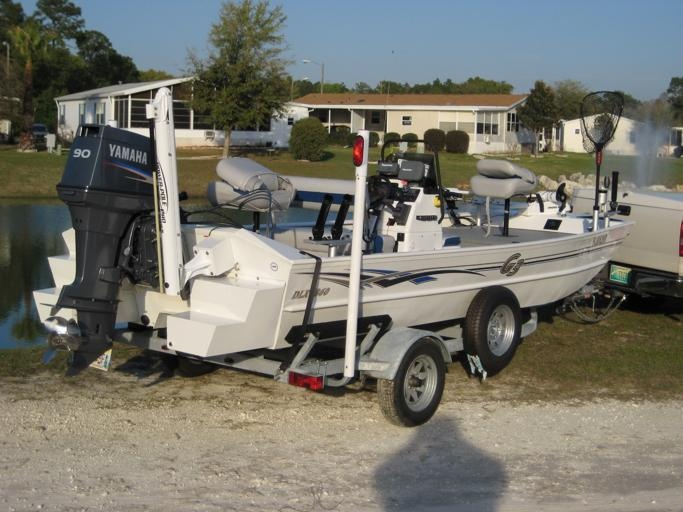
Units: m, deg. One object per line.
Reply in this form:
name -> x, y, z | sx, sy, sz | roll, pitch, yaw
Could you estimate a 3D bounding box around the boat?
boat -> 0.593, -0.235, 9.193 | 7.357, 2.588, 3.370 | -7, 13, -42
